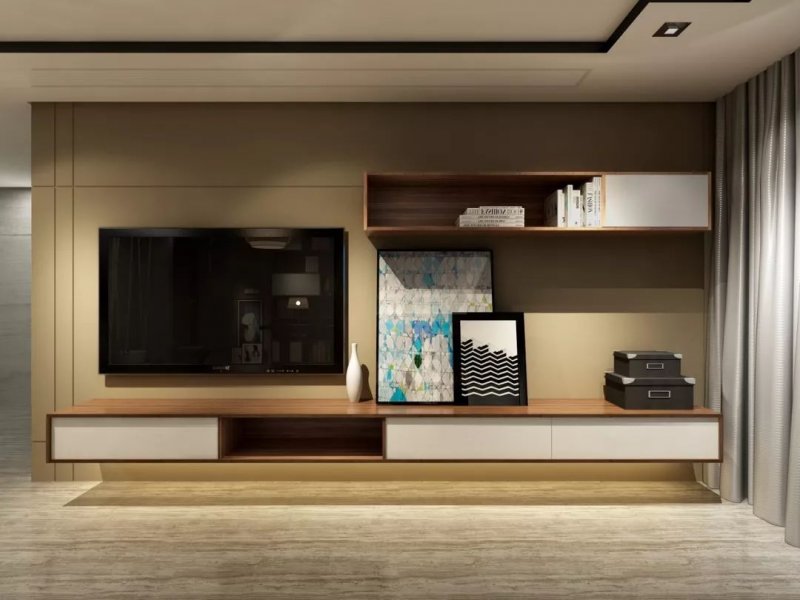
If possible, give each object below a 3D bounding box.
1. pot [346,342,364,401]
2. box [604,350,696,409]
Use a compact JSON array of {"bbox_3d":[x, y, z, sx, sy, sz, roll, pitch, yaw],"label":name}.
[{"bbox_3d":[-0.306,0.494,5.207,0.108,0.331,0.128,-1,0,-6],"label":"pot"},{"bbox_3d":[1.680,0.525,5.174,0.534,0.313,0.541,-1,1,11],"label":"box"}]
